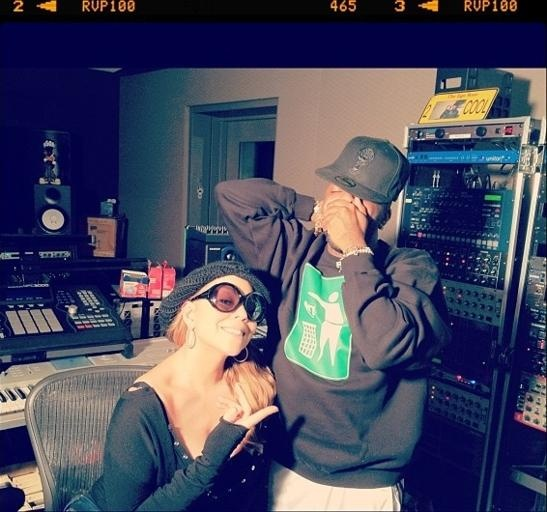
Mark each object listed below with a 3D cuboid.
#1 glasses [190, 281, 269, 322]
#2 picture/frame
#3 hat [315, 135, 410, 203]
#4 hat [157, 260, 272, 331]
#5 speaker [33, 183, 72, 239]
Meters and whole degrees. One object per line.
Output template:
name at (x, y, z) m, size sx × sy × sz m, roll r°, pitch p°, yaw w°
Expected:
glasses at (-0.138, 0.158, 1.402) m, size 0.181 × 0.086 × 0.215 m, roll 18°, pitch -25°, yaw -27°
picture/frame at (0.803, -0.640, 2.086) m, size 0.349 × 0.200 × 0.004 m, roll 8°, pitch -20°, yaw 42°
hat at (0.292, -0.289, 1.519) m, size 0.249 × 0.158 × 0.319 m, roll 31°, pitch 25°, yaw 16°
hat at (-0.202, 0.101, 1.399) m, size 0.245 × 0.075 × 0.201 m, roll -22°, pitch -11°, yaw 34°
speaker at (-1.193, -0.255, 2.651) m, size 0.187 × 0.260 × 0.137 m, roll -4°, pitch 12°, yaw -23°
